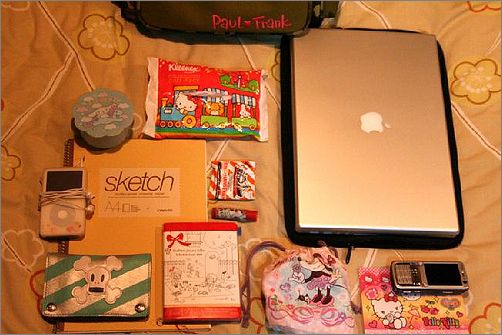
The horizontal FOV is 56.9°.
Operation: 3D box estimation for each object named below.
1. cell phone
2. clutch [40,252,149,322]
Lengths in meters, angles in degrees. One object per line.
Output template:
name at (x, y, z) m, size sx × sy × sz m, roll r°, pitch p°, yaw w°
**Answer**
cell phone at (0.607, 0.377, 1.589) m, size 0.254 × 0.068 × 0.093 m, roll 3°, pitch 56°, yaw -5°
clutch at (-0.510, 0.391, 1.532) m, size 0.339 × 0.068 × 0.190 m, roll 1°, pitch 57°, yaw -5°
